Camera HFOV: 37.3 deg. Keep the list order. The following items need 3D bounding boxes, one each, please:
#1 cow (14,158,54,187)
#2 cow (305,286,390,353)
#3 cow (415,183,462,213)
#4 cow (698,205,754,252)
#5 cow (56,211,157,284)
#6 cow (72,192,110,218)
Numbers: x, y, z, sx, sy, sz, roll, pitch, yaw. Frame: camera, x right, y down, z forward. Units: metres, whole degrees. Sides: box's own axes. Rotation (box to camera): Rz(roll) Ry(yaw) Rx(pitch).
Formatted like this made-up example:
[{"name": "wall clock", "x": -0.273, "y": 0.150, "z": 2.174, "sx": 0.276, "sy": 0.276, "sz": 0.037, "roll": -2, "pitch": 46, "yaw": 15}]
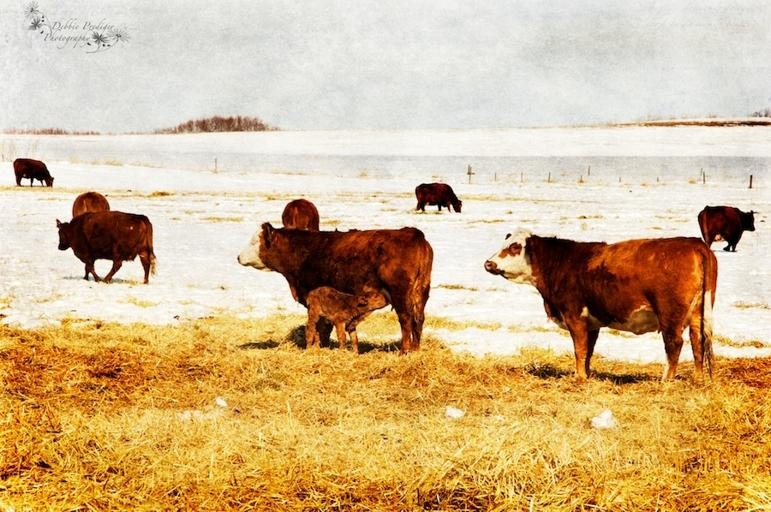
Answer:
[{"name": "cow", "x": -17.863, "y": -4.169, "z": 57.799, "sx": 1.851, "sy": 1.434, "sz": 0.904, "roll": -5, "pitch": 9, "yaw": -35}, {"name": "cow", "x": -0.839, "y": 1.304, "z": 23.565, "sx": 2.163, "sy": 1.256, "sz": 0.736, "roll": 8, "pitch": 7, "yaw": 38}, {"name": "cow", "x": 2.213, "y": -2.432, "z": 48.036, "sx": 1.959, "sy": 1.183, "sz": 1.435, "roll": -1, "pitch": 7, "yaw": -12}, {"name": "cow", "x": 10.731, "y": -0.793, "z": 35.591, "sx": 2.797, "sy": 1.476, "sz": 0.930, "roll": 1, "pitch": -2, "yaw": -39}, {"name": "cow", "x": -7.300, "y": -0.193, "z": 29.796, "sx": 3.321, "sy": 1.861, "sz": 0.907, "roll": -1, "pitch": -2, "yaw": 28}, {"name": "cow", "x": -8.868, "y": -1.457, "z": 34.389, "sx": 0.864, "sy": 1.194, "sz": 1.728, "roll": -2, "pitch": 6, "yaw": -23}]
